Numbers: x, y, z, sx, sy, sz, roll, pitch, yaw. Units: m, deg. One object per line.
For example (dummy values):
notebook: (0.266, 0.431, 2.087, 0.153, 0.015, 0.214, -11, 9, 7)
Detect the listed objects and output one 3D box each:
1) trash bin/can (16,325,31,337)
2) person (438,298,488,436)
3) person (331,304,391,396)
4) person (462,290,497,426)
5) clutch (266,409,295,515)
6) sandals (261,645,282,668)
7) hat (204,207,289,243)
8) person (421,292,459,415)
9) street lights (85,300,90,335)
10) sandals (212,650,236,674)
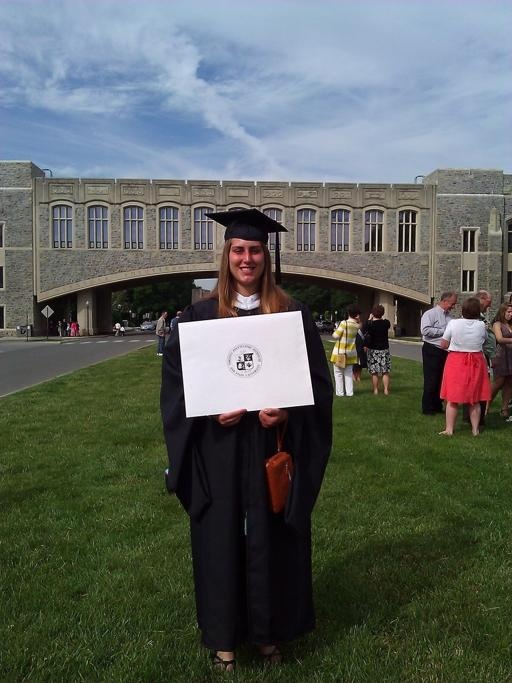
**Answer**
trash bin/can: (-17.246, -0.730, 41.415, 0.738, 0.720, 0.450, 2, 12, 0)
person: (2.681, 0.347, 7.202, 0.614, 1.802, 0.764, 1, 5, 21)
person: (1.985, 0.137, 10.924, 1.011, 1.868, 1.164, 0, 9, -2)
person: (3.490, 0.030, 8.479, 0.419, 1.566, 0.448, -6, -4, -12)
clutch: (0.094, 0.587, 2.518, 0.149, 0.331, 0.154, 5, 8, -15)
sandals: (0.071, 1.435, 2.565, 0.058, 0.051, 0.125, 3, 4, -2)
hat: (-0.011, -0.577, 2.937, 0.258, 0.091, 0.265, 6, -9, 41)
person: (2.742, 0.190, 8.567, 0.542, 2.274, 0.459, 3, 6, 2)
street lights: (-13.061, -1.925, 43.278, 0.298, 2.423, 0.371, -2, 5, -16)
sandals: (-0.148, 1.434, 2.533, 0.105, 0.074, 0.113, -1, 4, 1)
